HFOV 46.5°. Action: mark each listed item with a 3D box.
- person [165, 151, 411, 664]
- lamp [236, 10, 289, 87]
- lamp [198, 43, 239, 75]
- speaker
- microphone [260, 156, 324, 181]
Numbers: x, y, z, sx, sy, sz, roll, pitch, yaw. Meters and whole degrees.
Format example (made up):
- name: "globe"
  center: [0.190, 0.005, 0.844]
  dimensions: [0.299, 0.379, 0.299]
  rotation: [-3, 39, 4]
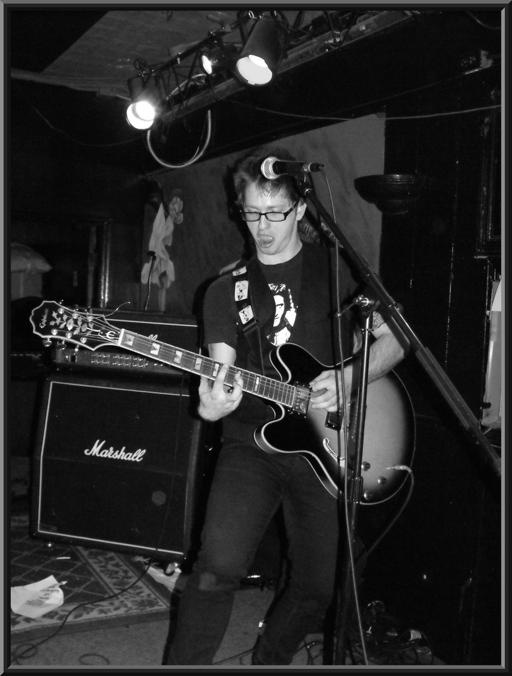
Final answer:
- name: "person"
  center: [0.008, 0.235, 2.197]
  dimensions: [0.696, 2.058, 0.940]
  rotation: [4, 2, 42]
- name: "lamp"
  center: [0.019, -1.236, 2.473]
  dimensions: [0.181, 0.313, 0.226]
  rotation: [2, 2, -17]
- name: "lamp"
  center: [-0.176, -1.308, 2.794]
  dimensions: [0.216, 0.135, 0.093]
  rotation: [12, 31, 28]
- name: "speaker"
  center: [-0.667, 0.635, 2.899]
  dimensions: [0.915, 0.946, 0.331]
  rotation: [5, -4, 10]
- name: "microphone"
  center: [0.096, -0.501, 1.854]
  dimensions: [0.224, 0.080, 0.082]
  rotation: [3, 4, 37]
